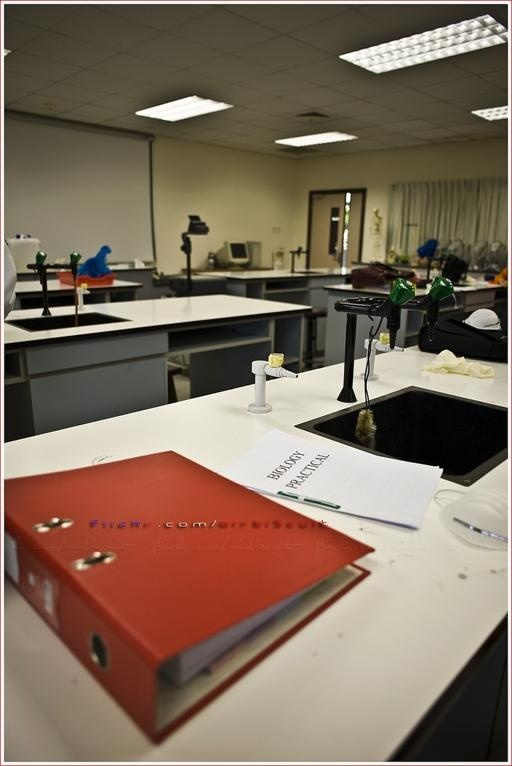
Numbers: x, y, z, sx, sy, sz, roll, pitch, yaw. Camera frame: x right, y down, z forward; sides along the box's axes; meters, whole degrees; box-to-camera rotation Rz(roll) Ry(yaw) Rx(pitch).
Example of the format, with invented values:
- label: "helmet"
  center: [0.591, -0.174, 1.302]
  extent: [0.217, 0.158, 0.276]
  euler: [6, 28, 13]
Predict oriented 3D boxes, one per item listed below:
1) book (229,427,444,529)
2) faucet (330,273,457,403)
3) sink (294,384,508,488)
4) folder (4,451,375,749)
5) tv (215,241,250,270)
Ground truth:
- label: "book"
  center: [0.104, 0.151, 0.850]
  extent: [0.327, 0.039, 0.245]
  euler: [6, 15, 20]
- label: "faucet"
  center: [0.315, -0.090, 1.221]
  extent: [0.182, 0.338, 0.298]
  euler: [-8, 14, -28]
- label: "sink"
  center: [0.421, 0.144, 1.259]
  extent: [0.315, 0.210, 0.324]
  euler: [11, 16, 39]
- label: "folder"
  center: [-0.119, 0.164, 0.532]
  extent: [0.213, 0.072, 0.289]
  euler: [-9, 18, -36]
- label: "tv"
  center: [-0.374, -2.131, 8.260]
  extent: [0.464, 0.402, 0.471]
  euler: [-12, 28, -33]
